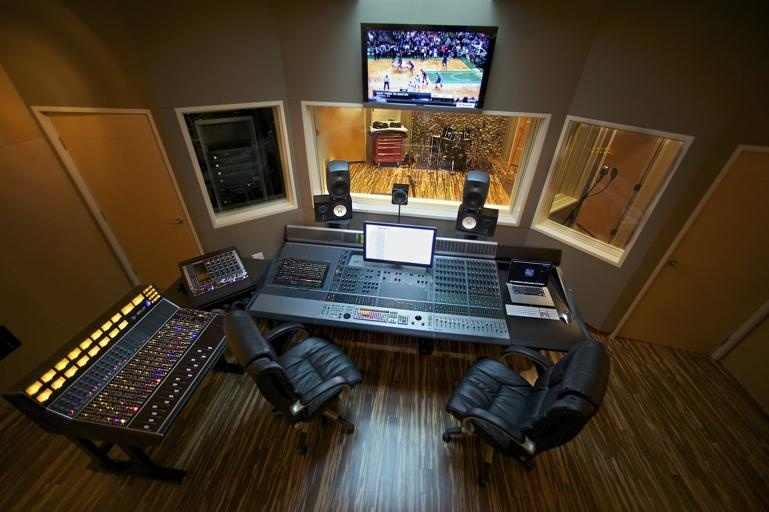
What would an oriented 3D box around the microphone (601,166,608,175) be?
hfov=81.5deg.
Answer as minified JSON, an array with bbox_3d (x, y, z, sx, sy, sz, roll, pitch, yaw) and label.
[{"bbox_3d":[2.573,-0.999,5.220,0.032,0.103,0.069,-22,30,-35],"label":"microphone"}]

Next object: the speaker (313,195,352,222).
[{"bbox_3d":[-0.601,-0.540,5.137,0.497,0.331,0.282,1,49,-5],"label":"speaker"}]

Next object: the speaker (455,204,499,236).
[{"bbox_3d":[1.034,-0.386,4.991,0.519,0.365,0.292,6,49,9],"label":"speaker"}]

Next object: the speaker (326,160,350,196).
[{"bbox_3d":[-0.535,-0.882,5.071,0.237,0.373,0.184,-6,33,-13],"label":"speaker"}]

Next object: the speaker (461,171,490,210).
[{"bbox_3d":[1.004,-0.731,4.945,0.262,0.371,0.240,8,33,9],"label":"speaker"}]

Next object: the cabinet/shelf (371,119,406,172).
[{"bbox_3d":[0.032,-1.561,6.285,0.472,0.569,0.475,-1,58,2],"label":"cabinet/shelf"}]

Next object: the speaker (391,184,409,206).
[{"bbox_3d":[0.177,-0.704,5.166,0.211,0.307,0.222,0,66,3],"label":"speaker"}]

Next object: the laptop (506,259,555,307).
[{"bbox_3d":[1.546,0.293,4.795,0.531,0.389,0.460,3,58,11],"label":"laptop"}]
